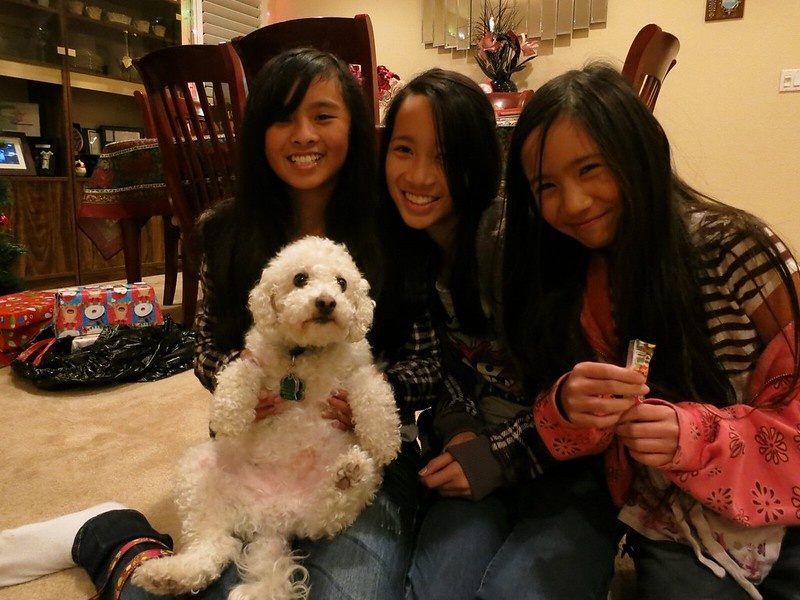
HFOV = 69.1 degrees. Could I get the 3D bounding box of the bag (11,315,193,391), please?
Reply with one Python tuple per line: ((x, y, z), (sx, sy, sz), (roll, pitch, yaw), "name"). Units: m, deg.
((-1.346, 0.283, 2.709), (0.485, 0.159, 0.412), (-5, 9, -38), "bag")
